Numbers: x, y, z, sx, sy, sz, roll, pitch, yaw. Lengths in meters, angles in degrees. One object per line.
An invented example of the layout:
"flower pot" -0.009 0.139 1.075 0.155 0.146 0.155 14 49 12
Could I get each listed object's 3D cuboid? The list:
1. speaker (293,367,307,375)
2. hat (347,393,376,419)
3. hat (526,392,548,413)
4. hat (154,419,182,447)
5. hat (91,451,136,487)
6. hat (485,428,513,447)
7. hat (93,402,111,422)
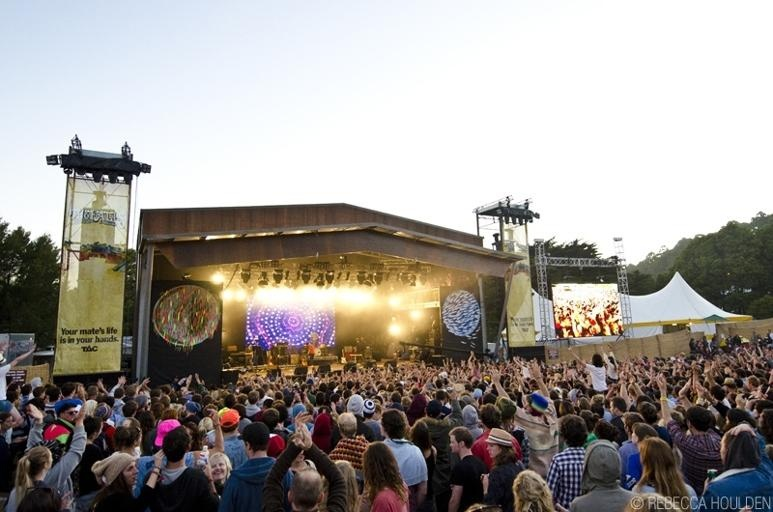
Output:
"speaker" -3.335 4.424 21.249 0.338 0.329 0.235 6 -7 -29
"hat" -0.393 2.406 8.887 0.408 0.214 0.275 3 4 37
"hat" 2.087 2.009 7.582 0.209 0.282 0.235 -1 -8 7
"hat" -2.783 2.220 6.992 0.348 0.248 0.479 -3 -16 -11
"hat" -3.202 2.474 6.456 0.505 0.364 0.179 -2 -8 15
"hat" 1.427 2.259 6.918 0.254 0.096 0.207 8 -13 2
"hat" -4.481 2.466 8.716 0.229 0.256 0.693 4 -9 -26
